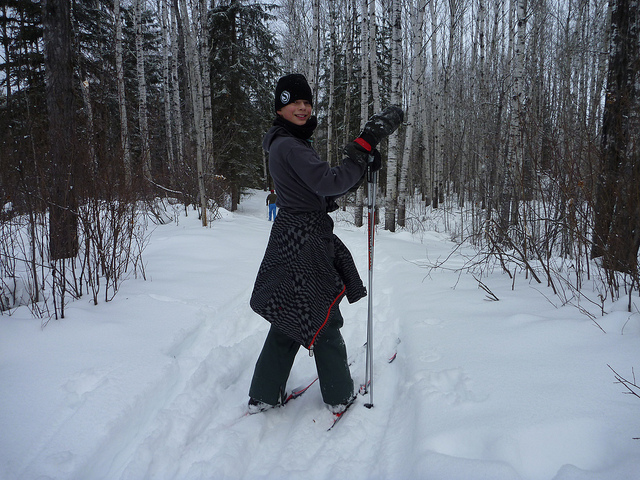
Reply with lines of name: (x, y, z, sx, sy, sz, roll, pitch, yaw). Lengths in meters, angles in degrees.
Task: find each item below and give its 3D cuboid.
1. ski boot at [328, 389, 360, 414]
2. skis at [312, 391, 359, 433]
ski boot: (0.216, 1.744, 5.210, 0.150, 0.120, 0.205, -7, 4, 35)
skis: (0.176, 1.854, 5.164, 0.507, 0.078, 0.087, -44, 6, -31)
